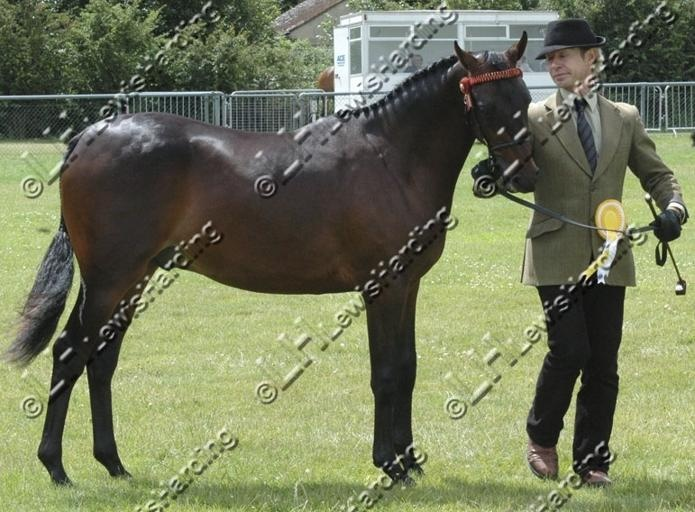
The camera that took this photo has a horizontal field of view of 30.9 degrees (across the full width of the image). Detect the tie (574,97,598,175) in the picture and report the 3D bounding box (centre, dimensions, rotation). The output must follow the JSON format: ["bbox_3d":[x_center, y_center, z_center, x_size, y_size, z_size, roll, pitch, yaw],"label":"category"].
[{"bbox_3d":[2.580,-1.334,13.779,0.176,0.925,0.126,-8,-4,3],"label":"tie"}]

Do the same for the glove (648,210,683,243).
[{"bbox_3d":[3.442,-0.366,13.672,0.376,0.352,0.305,3,18,-2],"label":"glove"}]

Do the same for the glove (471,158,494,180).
[{"bbox_3d":[1.458,-0.955,13.699,0.270,0.166,0.165,-15,18,-2],"label":"glove"}]
